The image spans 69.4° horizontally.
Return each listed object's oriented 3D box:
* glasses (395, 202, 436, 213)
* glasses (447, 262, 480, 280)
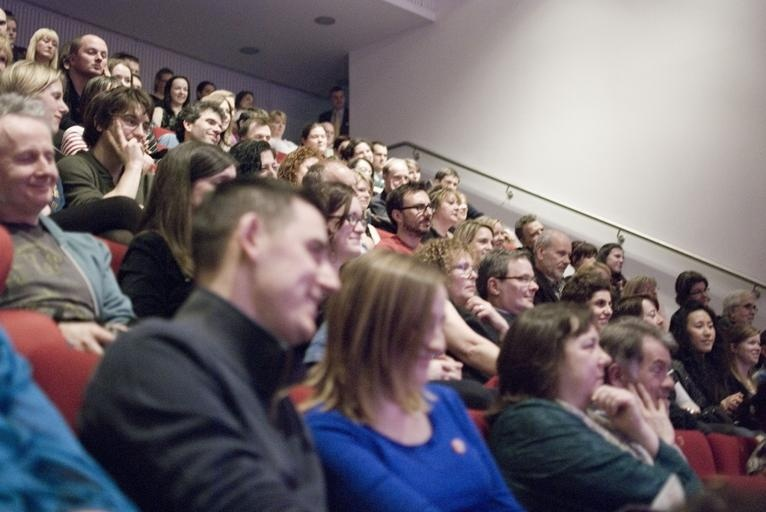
[{"bbox_3d":[0.181,-0.265,3.013,0.095,0.028,0.095,-8,-8,39],"label":"glasses"},{"bbox_3d":[0.329,0.053,2.222,0.072,0.041,0.094,-29,-37,36],"label":"glasses"}]
